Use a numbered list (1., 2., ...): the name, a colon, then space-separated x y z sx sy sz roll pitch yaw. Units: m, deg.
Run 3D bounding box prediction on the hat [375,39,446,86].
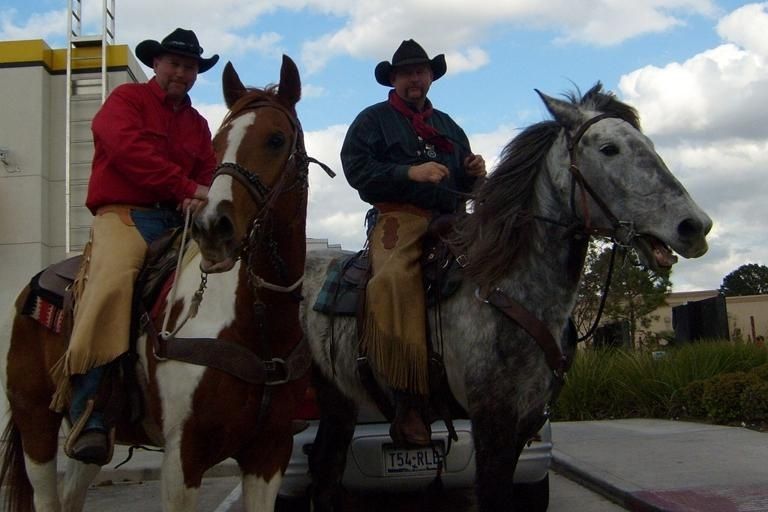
1. hat: 0.235 -1.836 6.340 0.593 0.286 0.685 -10 10 -3
